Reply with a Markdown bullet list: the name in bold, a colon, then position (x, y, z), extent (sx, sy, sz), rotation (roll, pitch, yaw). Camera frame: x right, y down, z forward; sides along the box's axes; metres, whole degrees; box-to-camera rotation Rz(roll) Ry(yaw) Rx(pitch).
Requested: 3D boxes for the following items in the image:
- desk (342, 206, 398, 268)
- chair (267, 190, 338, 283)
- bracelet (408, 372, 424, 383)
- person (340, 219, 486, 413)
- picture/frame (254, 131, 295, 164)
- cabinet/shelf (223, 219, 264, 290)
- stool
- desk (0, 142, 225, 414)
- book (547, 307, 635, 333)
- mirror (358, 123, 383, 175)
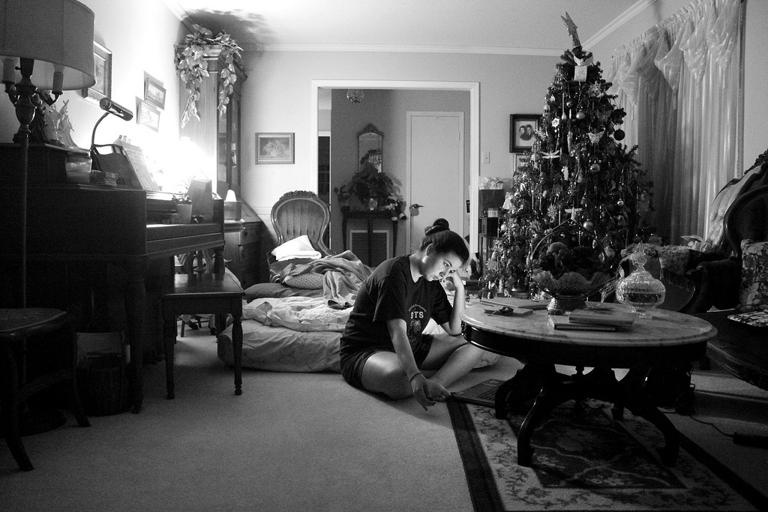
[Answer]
- **desk**: position (-0.134, -0.370, 9.267), extent (0.676, 1.152, 0.432), rotation (-6, -21, 16)
- **chair**: position (-1.045, -0.175, 6.624), extent (0.717, 1.150, 0.806), rotation (-1, 13, -13)
- **bracelet**: position (0.168, 0.658, 2.912), extent (0.078, 0.068, 0.054), rotation (3, 12, 17)
- **person**: position (0.169, 0.351, 3.237), extent (0.849, 1.057, 0.906), rotation (-2, 11, -9)
- **picture/frame**: position (-1.540, -1.517, 7.454), extent (0.420, 0.362, 0.031), rotation (0, -2, -5)
- **cabinet/shelf**: position (-1.597, -0.023, 6.036), extent (0.240, 0.744, 0.779), rotation (0, 6, 4)
- **stool**: position (-1.331, 0.464, 3.892), extent (0.503, 0.600, 1.221), rotation (-1, 6, -20)
- **desk**: position (-1.736, -0.006, 3.827), extent (1.189, 1.726, 1.769), rotation (0, 1, 0)
- **book**: position (0.991, 0.291, 2.598), extent (0.384, 0.070, 0.260), rotation (2, 12, 11)
- **mirror**: position (-0.241, -1.841, 9.191), extent (0.462, 0.804, 0.237), rotation (-1, 11, -4)
